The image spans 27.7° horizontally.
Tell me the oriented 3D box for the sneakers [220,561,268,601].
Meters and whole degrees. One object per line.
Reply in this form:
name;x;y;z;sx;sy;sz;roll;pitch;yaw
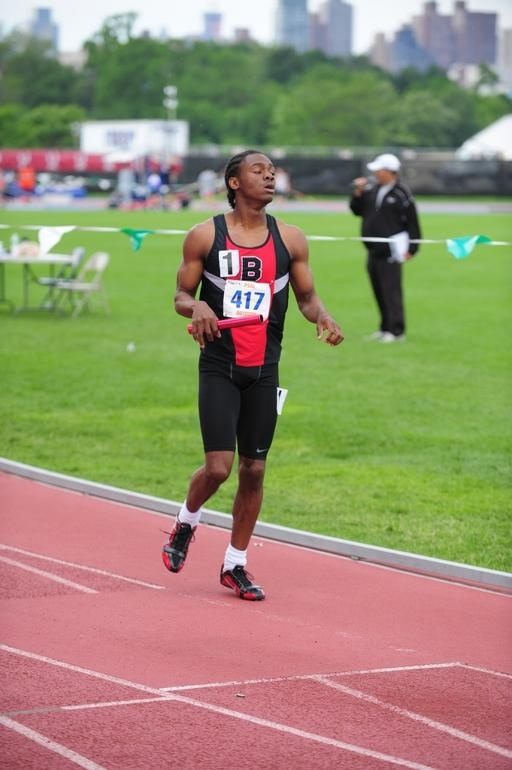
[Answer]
sneakers;-0.057;0.752;4.025;0.079;0.083;0.228;-1;10;-41

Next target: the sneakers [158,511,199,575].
sneakers;-0.287;0.614;4.076;0.102;0.115;0.263;23;39;-12

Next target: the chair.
chair;-0.946;-0.536;5.549;0.416;0.387;0.272;0;13;-41

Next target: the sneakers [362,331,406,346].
sneakers;1.215;-0.457;9.918;0.361;0.124;0.114;-2;5;23

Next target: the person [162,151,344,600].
person;-0.019;-0.033;3.937;0.606;1.693;0.378;3;9;-5

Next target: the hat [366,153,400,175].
hat;1.126;-1.945;9.084;0.294;0.124;0.166;-1;19;-7
